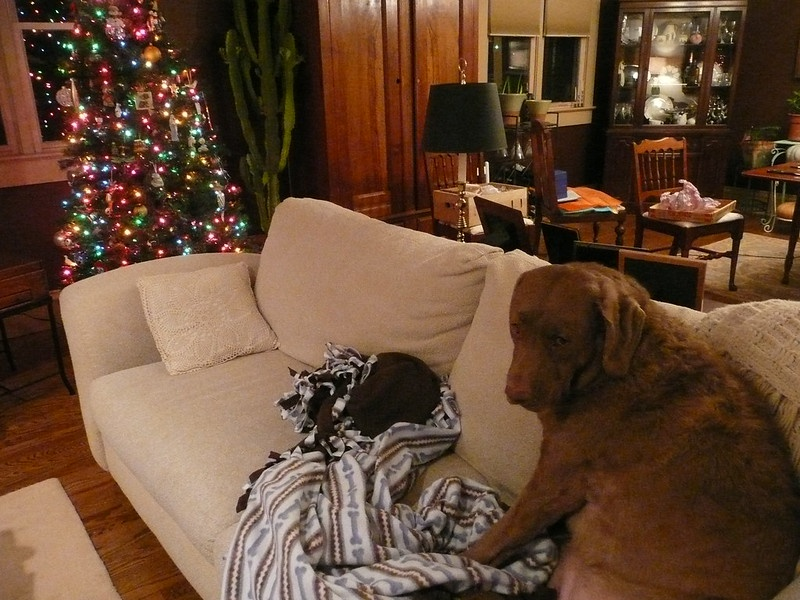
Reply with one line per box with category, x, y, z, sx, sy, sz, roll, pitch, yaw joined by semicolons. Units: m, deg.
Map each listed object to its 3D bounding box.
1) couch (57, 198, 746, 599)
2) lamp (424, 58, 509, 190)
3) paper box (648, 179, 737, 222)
couch;-0.150;0.302;1.760;0.644;0.609;1.416;-27;39;-35
lamp;0.358;-0.885;3.000;0.424;0.717;0.405;15;32;29
paper box;1.995;-0.669;4.067;0.402;0.183;0.398;1;22;18
